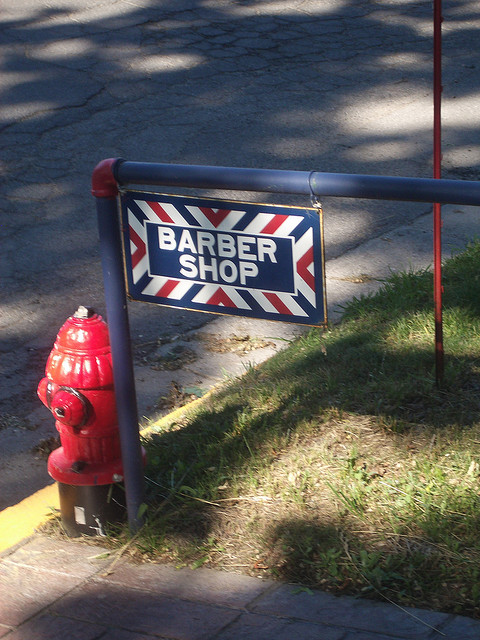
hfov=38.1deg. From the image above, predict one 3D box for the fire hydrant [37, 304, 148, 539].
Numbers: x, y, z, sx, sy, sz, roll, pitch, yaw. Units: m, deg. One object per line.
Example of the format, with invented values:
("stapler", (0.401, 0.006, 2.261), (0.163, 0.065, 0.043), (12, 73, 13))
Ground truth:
("fire hydrant", (-0.636, 0.407, 2.714), (0.380, 0.922, 0.281), (-9, 14, 0))
